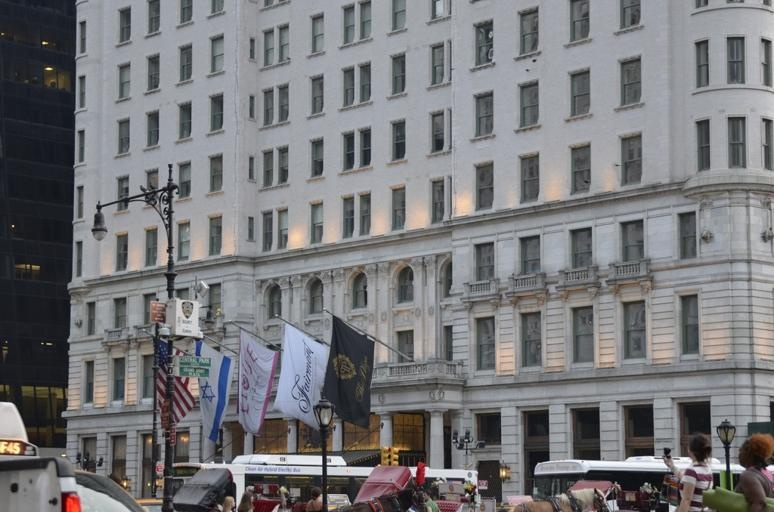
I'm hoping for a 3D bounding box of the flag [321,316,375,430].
[{"bbox_3d":[-2.415,7.865,157.131,3.379,7.321,0.853,7,-15,-30],"label":"flag"}]

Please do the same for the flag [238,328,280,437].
[{"bbox_3d":[-8.691,8.693,159.450,1.839,7.021,2.381,11,-27,-31],"label":"flag"}]

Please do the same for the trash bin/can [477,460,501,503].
[{"bbox_3d":[6.991,15.614,161.502,1.922,2.940,1.069,-5,-14,19],"label":"trash bin/can"}]

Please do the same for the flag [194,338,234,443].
[{"bbox_3d":[-11.671,9.428,160.374,0.510,6.737,2.891,10,-15,-40],"label":"flag"}]
